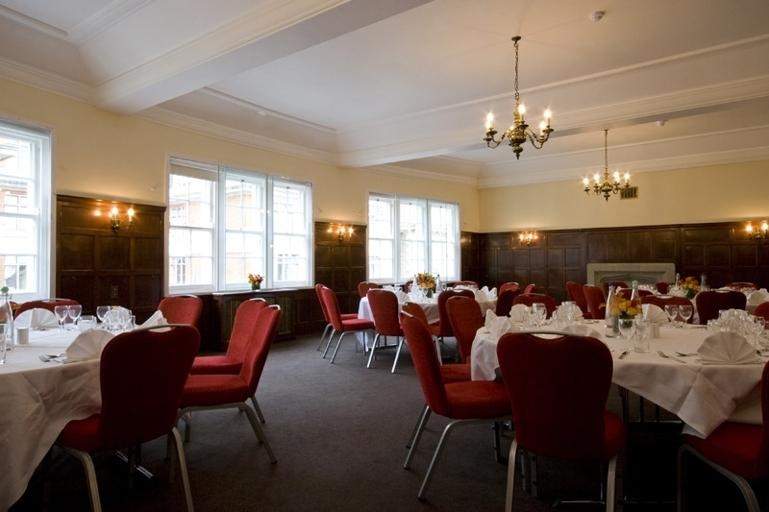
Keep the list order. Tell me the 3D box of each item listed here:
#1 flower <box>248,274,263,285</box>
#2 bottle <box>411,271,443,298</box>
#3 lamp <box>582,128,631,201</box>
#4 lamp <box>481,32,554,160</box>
[{"bbox_3d":[-2.323,0.403,9.187,0.237,0.175,0.281,-3,8,-17],"label":"flower"},{"bbox_3d":[0.666,0.463,8.324,0.395,0.420,0.392,2,3,33],"label":"bottle"},{"bbox_3d":[4.522,-1.898,10.415,0.720,1.448,0.781,1,1,41],"label":"lamp"},{"bbox_3d":[1.804,-2.183,6.924,0.819,1.636,0.855,-8,10,-38],"label":"lamp"}]
